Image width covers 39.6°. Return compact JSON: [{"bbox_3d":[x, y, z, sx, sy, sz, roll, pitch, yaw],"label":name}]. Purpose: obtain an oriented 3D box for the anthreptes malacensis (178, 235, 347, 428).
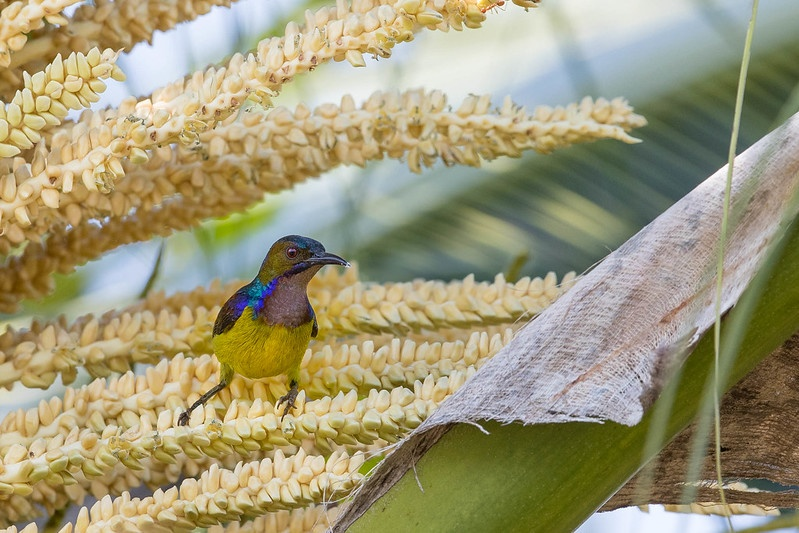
[{"bbox_3d":[-0.345,0.132,2.572,0.311,0.426,0.544,1,3,-24],"label":"anthreptes malacensis"}]
